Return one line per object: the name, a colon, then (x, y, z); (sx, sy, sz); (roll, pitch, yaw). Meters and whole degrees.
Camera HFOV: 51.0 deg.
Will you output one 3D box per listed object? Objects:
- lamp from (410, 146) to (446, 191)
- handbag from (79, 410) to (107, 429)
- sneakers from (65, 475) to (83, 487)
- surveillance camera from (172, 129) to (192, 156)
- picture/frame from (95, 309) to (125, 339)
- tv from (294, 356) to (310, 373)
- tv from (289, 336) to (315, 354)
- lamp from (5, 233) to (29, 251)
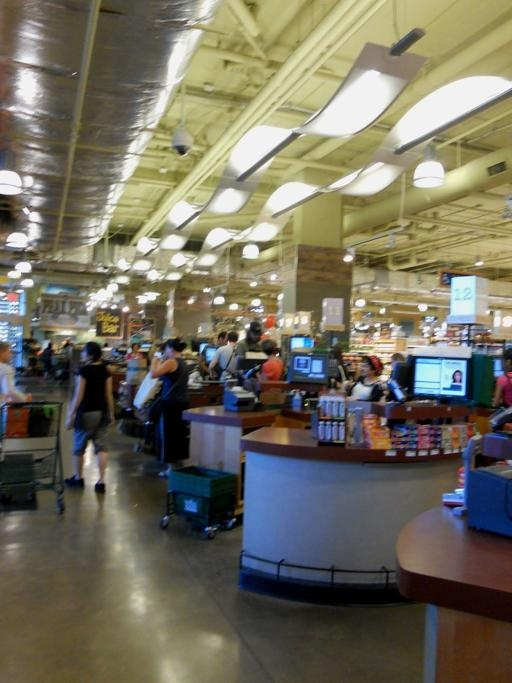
lamp: (1.857, -1.919, 5.778); (0.277, 0.424, 0.383); (1, -2, 15)
handbag: (-1.618, 0.785, 5.367); (0.258, 0.175, 0.162); (3, 8, -41)
sneakers: (-1.914, 1.491, 5.711); (0.230, 0.096, 0.090); (4, 0, 36)
surveillance camera: (-1.005, -2.785, 7.339); (0.263, 0.445, 0.475); (2, -2, -10)
picture/frame: (-4.886, -0.589, 17.959); (1.238, 1.035, 0.168); (0, -3, -33)
tv: (0.520, 0.257, 5.968); (0.186, 0.171, 0.089); (2, -1, 28)
tv: (0.787, 0.032, 9.208); (0.387, 0.267, 0.548); (1, -2, 6)
lamp: (-3.908, -1.715, 8.797); (0.280, 0.292, 0.666); (2, -2, -27)
